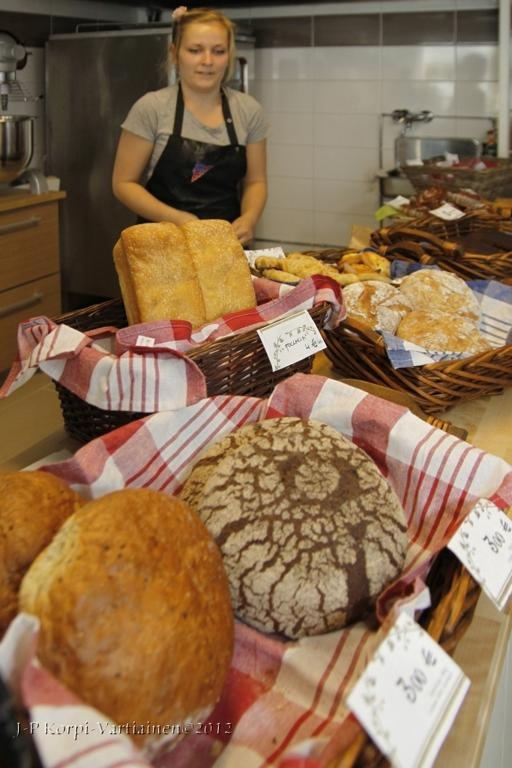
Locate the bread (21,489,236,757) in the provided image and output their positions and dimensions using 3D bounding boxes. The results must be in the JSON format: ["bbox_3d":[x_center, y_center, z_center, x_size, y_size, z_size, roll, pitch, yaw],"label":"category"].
[{"bbox_3d":[-0.071,0.122,0.325,0.122,0.049,0.159,31,15,-12],"label":"bread"}]

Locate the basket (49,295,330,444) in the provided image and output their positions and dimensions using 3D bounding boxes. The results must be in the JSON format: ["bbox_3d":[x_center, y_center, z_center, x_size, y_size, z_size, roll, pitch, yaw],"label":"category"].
[{"bbox_3d":[-0.072,-0.005,0.752,0.316,0.126,0.215,-27,27,-31],"label":"basket"}]

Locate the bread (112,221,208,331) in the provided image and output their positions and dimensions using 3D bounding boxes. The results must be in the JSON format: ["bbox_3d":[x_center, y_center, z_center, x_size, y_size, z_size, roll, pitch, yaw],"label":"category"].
[{"bbox_3d":[-0.144,-0.137,0.828,0.098,0.178,0.054,-16,5,-25],"label":"bread"}]

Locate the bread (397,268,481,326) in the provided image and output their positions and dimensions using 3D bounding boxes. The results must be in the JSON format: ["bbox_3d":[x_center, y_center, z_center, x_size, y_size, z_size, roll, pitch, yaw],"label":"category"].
[{"bbox_3d":[0.325,-0.167,1.008,0.124,0.038,0.098,31,52,22],"label":"bread"}]

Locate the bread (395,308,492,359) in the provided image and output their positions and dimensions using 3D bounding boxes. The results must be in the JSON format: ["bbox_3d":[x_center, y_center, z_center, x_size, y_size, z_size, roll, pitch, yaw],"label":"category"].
[{"bbox_3d":[0.303,-0.084,0.901,0.117,0.034,0.093,13,32,1],"label":"bread"}]

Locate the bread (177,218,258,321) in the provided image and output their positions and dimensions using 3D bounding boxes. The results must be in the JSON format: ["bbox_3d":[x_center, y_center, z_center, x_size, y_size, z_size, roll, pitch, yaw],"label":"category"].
[{"bbox_3d":[-0.067,-0.170,0.882,0.096,0.172,0.051,-22,11,-33],"label":"bread"}]

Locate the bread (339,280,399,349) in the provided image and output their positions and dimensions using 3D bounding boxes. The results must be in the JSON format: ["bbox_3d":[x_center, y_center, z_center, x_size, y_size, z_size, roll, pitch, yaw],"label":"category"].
[{"bbox_3d":[0.201,-0.128,0.946,0.083,0.034,0.135,7,34,5],"label":"bread"}]
